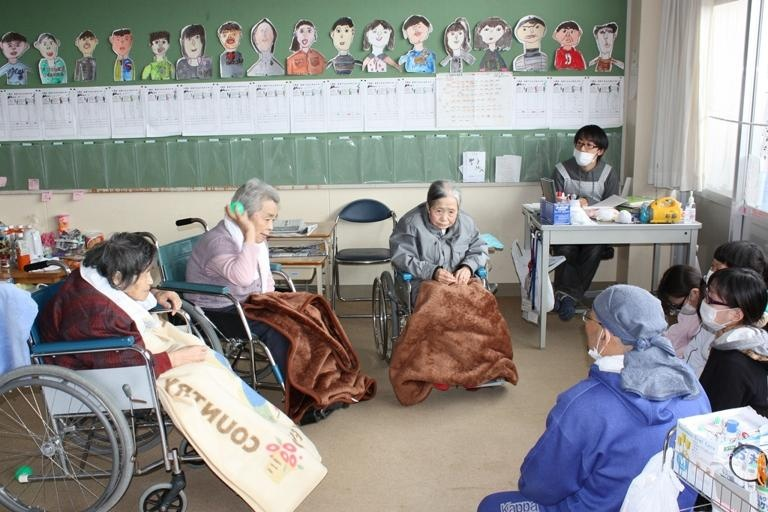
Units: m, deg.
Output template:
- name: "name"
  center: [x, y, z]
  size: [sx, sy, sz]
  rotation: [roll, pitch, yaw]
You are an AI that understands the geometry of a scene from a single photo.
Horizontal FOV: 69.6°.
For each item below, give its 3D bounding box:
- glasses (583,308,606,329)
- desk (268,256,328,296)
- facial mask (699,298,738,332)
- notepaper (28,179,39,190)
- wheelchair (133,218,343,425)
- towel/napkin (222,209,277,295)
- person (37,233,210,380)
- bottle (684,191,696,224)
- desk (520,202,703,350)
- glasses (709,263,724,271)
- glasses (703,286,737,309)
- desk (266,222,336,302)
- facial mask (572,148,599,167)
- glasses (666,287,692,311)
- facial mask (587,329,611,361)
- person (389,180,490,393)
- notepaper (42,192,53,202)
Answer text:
- name: "glasses"
  center: [0.851, 0.263, 2.277]
  size: [0.086, 0.027, 0.088]
  rotation: [19, 30, -34]
- name: "desk"
  center: [-0.667, 0.106, 4.524]
  size: [0.402, 0.321, 0.325]
  rotation: [0, 4, 3]
- name: "facial mask"
  center: [1.644, 0.295, 2.722]
  size: [0.141, 0.091, 0.129]
  rotation: [9, 2, 24]
- name: "notepaper"
  center: [-3.657, -0.735, 5.735]
  size: [0.100, 0.106, 0.012]
  rotation: [1, 8, -3]
- name: "wheelchair"
  center: [-0.896, 0.365, 3.667]
  size: [1.394, 1.270, 0.873]
  rotation: [2, 10, 11]
- name: "towel/napkin"
  center: [-0.919, -0.026, 3.667]
  size: [0.375, 0.504, 0.211]
  rotation: [2, 5, -3]
- name: "person"
  center: [-1.310, 0.159, 3.115]
  size: [0.838, 1.066, 0.625]
  rotation: [1, 24, -5]
- name: "bottle"
  center: [2.422, -0.365, 4.386]
  size: [0.077, 0.188, 0.292]
  rotation: [2, 13, 27]
- name: "desk"
  center: [1.871, -0.101, 4.969]
  size: [1.609, 1.255, 1.281]
  rotation: [-1, 12, 1]
- name: "glasses"
  center: [2.093, 0.072, 3.476]
  size: [0.046, 0.067, 0.060]
  rotation: [8, 9, 5]
- name: "glasses"
  center: [1.642, 0.197, 2.695]
  size: [0.090, 0.026, 0.094]
  rotation: [23, 7, 8]
- name: "desk"
  center: [-0.677, 0.027, 4.741]
  size: [0.589, 0.626, 0.724]
  rotation: [-1, 6, 6]
- name: "facial mask"
  center: [1.862, -0.919, 5.131]
  size: [0.156, 0.101, 0.165]
  rotation: [15, 27, 31]
- name: "glasses"
  center: [1.826, 0.275, 3.435]
  size: [0.130, 0.112, 0.115]
  rotation: [-5, 15, 12]
- name: "facial mask"
  center: [0.865, 0.361, 2.250]
  size: [0.058, 0.108, 0.085]
  rotation: [17, -4, 24]
- name: "person"
  center: [0.448, 0.085, 4.258]
  size: [0.784, 1.248, 0.646]
  rotation: [-7, 28, -11]
- name: "notepaper"
  center: [-3.523, -0.609, 5.745]
  size: [0.098, 0.106, 0.015]
  rotation: [1, 13, -11]
